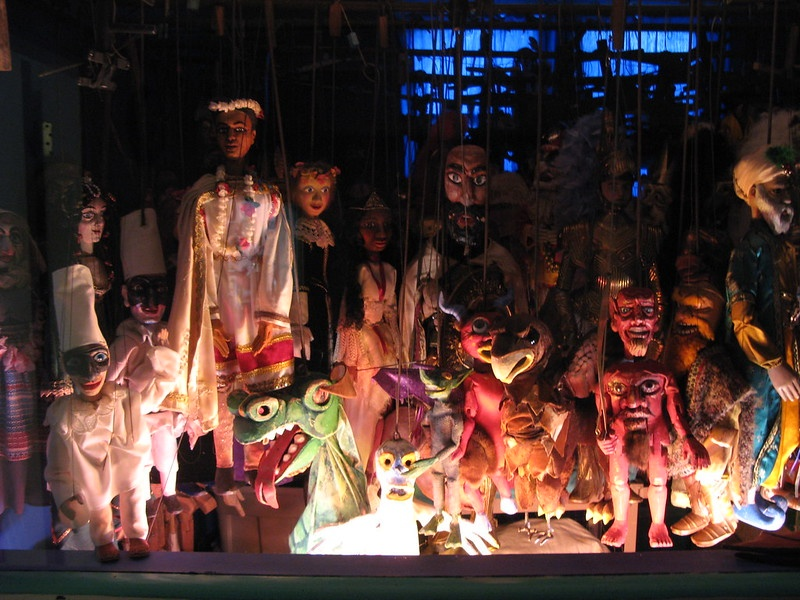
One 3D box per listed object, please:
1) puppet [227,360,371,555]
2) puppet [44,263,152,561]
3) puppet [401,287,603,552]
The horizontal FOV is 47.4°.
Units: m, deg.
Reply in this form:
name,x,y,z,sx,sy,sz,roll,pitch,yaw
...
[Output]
name,x,y,z,sx,sy,sz,roll,pitch,yaw
puppet,-0.594,0.754,4.530,0.760,1.059,0.722,-2,-3,-35
puppet,-1.343,0.477,4.033,0.531,1.240,0.350,1,4,3
puppet,0.445,0.594,4.221,0.629,1.271,0.807,3,4,32
